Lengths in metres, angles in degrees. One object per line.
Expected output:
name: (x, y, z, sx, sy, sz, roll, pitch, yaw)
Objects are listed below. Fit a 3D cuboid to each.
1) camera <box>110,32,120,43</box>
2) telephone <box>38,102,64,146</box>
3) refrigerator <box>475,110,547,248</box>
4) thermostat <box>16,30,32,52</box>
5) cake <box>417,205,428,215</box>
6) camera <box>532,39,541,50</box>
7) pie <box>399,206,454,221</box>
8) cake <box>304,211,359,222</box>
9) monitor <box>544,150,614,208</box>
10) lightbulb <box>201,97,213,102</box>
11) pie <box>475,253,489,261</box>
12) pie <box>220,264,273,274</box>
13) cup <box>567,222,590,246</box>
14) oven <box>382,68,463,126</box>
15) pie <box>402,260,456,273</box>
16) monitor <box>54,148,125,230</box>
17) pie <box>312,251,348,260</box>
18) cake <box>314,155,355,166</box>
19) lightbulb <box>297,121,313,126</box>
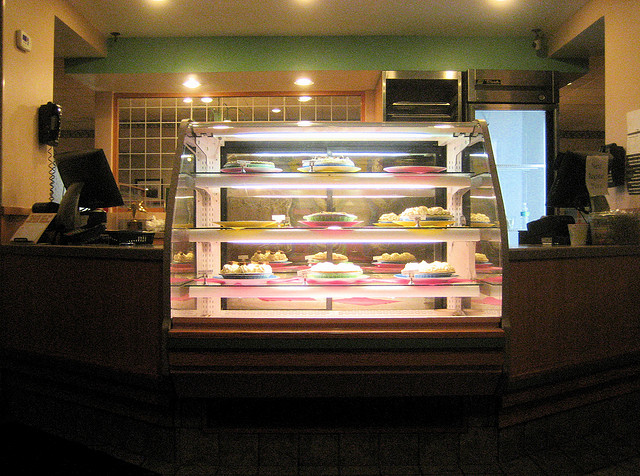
camera: (-2.069, -2.064, 6.077, 0.072, 0.039, 0.064, 1, 3, 3)
telephone: (-2.382, -1.024, 5.315, 0.189, 0.385, 0.214, -3, 5, -11)
refrigerator: (1.990, -0.673, 6.122, 0.620, 1.290, 0.358, -1, 5, 17)
thermostat: (-2.488, -1.681, 5.061, 0.037, 0.162, 0.140, -1, 5, 14)
cake: (0.684, -0.195, 3.998, 0.055, 0.045, 0.023, -6, -17, -31)
camera: (2.211, -2.000, 6.122, 0.078, 0.104, 0.118, 0, 5, 18)
pie: (0.702, -0.166, 3.980, 0.346, 0.091, 0.129, -1, 5, 5)
cake: (0.070, -0.143, 3.965, 0.325, 0.060, 0.098, -2, 5, -7)
monitor: (1.904, -0.441, 4.660, 0.622, 0.468, 0.449, 0, -12, 1)
lightbulb: (-1.271, -1.572, 6.740, 0.124, 0.048, 0.050, 0, 5, 19)
pie: (1.062, 0.124, 3.954, 0.009, 0.048, 0.120, -4, 5, -23)
pie: (-0.482, 0.201, 3.953, 0.321, 0.065, 0.081, -2, 5, -8)
cup: (1.891, -0.033, 4.352, 0.137, 0.154, 0.174, -1, 5, 7)
oven: (1.112, -1.460, 6.248, 0.874, 0.523, 0.444, 5, 28, 17)
pie: (0.719, 0.192, 3.985, 0.336, 0.069, 0.131, -1, 5, 6)
monitor: (-1.720, -0.365, 4.428, 0.392, 0.582, 0.312, 1, 6, 32)
pie: (0.080, 0.118, 4.255, 0.233, 0.048, 0.289, -1, 5, 9)
cake: (0.079, -0.531, 4.036, 0.244, 0.084, 0.215, -2, 5, -13)
lightbulb: (-0.098, -0.758, 3.920, 0.072, 0.033, 0.086, -6, 6, -41)
